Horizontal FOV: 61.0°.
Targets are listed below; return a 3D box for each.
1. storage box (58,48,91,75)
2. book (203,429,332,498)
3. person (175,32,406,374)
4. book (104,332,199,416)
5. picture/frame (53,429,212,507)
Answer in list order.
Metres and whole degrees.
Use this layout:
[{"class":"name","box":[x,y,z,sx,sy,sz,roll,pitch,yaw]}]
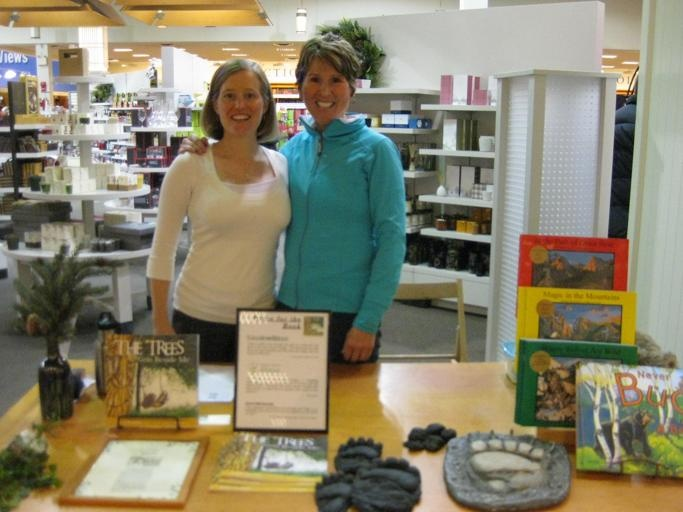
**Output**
[{"class":"storage box","box":[-2.958,-2.063,6.283,0.471,0.328,0.183,4,9,23]},{"class":"book","box":[-0.225,0.659,1.865,0.361,0.077,0.235,1,8,0]},{"class":"person","box":[-0.023,-0.218,2.504,0.594,1.439,0.357,3,8,15]},{"class":"book","box":[-0.665,0.416,2.012,0.269,0.236,0.038,0,2,3]},{"class":"picture/frame","box":[-0.650,0.673,1.831,0.381,0.091,0.271,1,8,2]}]
